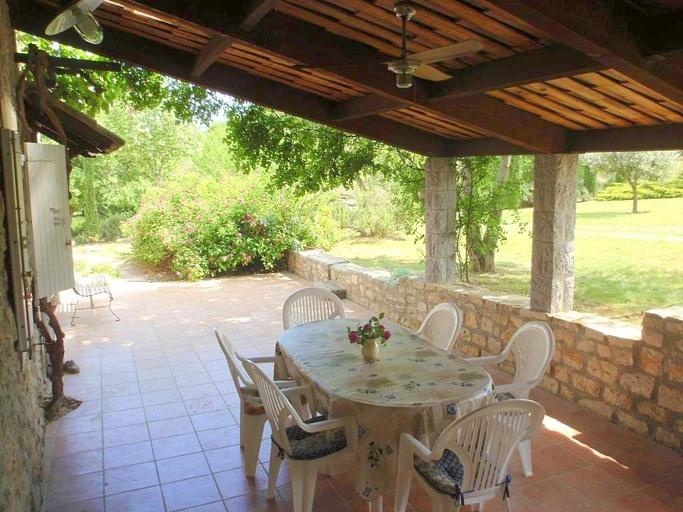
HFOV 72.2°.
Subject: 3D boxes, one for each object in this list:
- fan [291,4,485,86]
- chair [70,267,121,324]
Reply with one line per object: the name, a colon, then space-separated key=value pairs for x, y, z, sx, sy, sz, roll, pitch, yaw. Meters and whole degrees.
fan: x=0.345 y=-1.631 z=3.509 sx=0.689 sy=0.313 sz=0.668 roll=-6 pitch=15 yaw=-36
chair: x=-4.175 y=0.587 z=7.890 sx=0.671 sy=0.451 sz=1.173 roll=-2 pitch=15 yaw=-29
